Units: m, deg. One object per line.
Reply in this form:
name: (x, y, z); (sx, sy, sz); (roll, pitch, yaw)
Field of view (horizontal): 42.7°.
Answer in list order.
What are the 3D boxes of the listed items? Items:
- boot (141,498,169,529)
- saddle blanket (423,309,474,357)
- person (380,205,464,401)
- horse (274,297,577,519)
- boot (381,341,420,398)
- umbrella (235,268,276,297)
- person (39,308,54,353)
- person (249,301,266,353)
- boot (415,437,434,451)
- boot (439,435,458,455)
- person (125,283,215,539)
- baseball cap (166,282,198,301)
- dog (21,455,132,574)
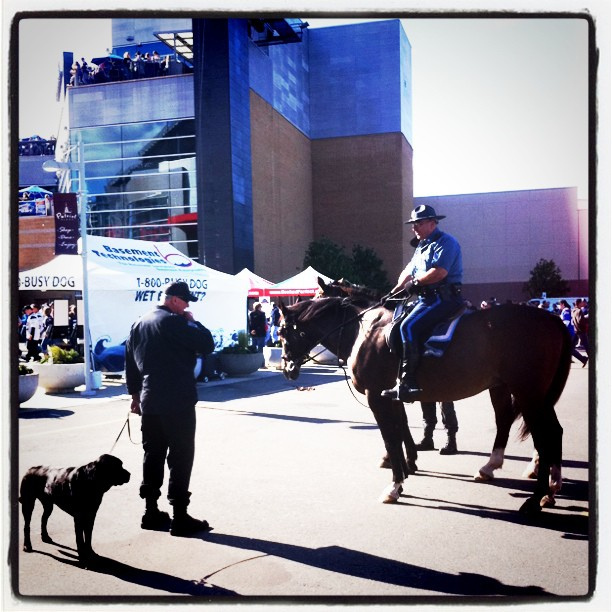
boot: (-1.307, 1.783, 6.838); (0.147, 0.270, 0.235); (1, 3, 33)
saddle blanket: (1.309, 0.277, 7.294); (0.450, 0.368, 0.165); (-2, 3, -34)
person: (1.122, -0.051, 7.758); (0.847, 1.867, 0.790); (4, -4, -35)
horse: (1.105, 0.895, 7.802); (2.938, 2.139, 0.770); (-2, -1, 26)
boot: (0.896, 0.587, 7.268); (0.327, 0.542, 0.178); (0, 2, 5)
umbrella: (-1.872, -0.940, 28.956); (1.817, 0.804, 1.878); (0, -3, 2)
person: (-7.006, 0.632, 21.237); (0.341, 1.156, 1.345); (-1, 3, -19)
person: (-1.248, 0.576, 20.823); (0.433, 1.297, 1.782); (-1, 3, -4)
boot: (1.420, 1.627, 9.292); (0.212, 0.148, 0.241); (0, 3, 7)
boot: (1.667, 1.598, 9.115); (0.215, 0.217, 0.340); (0, 3, 10)
person: (-1.191, 0.862, 6.803); (0.882, 2.119, 0.618); (0, 2, 14)
baseball cap: (-1.103, -0.135, 7.070); (0.235, 0.127, 0.147); (-4, 9, -26)
dog: (-1.793, 1.578, 6.200); (0.886, 0.821, 0.389); (1, 3, 28)
